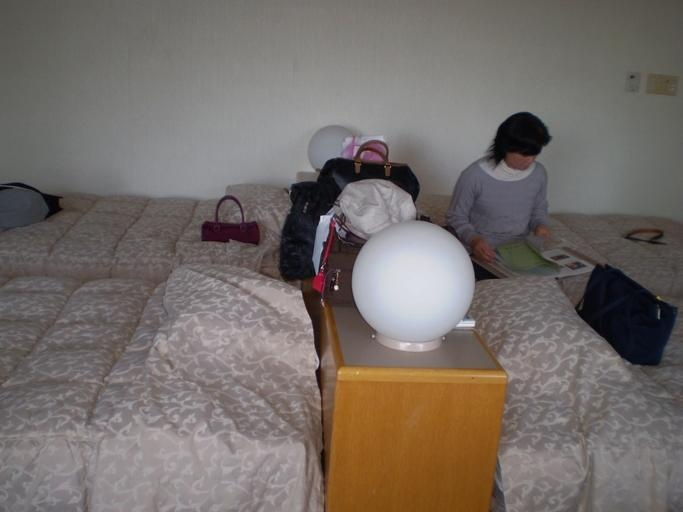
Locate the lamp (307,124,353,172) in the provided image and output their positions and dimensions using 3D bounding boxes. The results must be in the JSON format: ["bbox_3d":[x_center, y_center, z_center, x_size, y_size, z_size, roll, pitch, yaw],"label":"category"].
[{"bbox_3d":[-0.094,-0.682,3.214,0.291,0.297,0.070,7,2,13],"label":"lamp"}]

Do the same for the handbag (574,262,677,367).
[{"bbox_3d":[1.069,0.235,1.905,0.168,0.190,0.321,0,24,-13],"label":"handbag"}]
